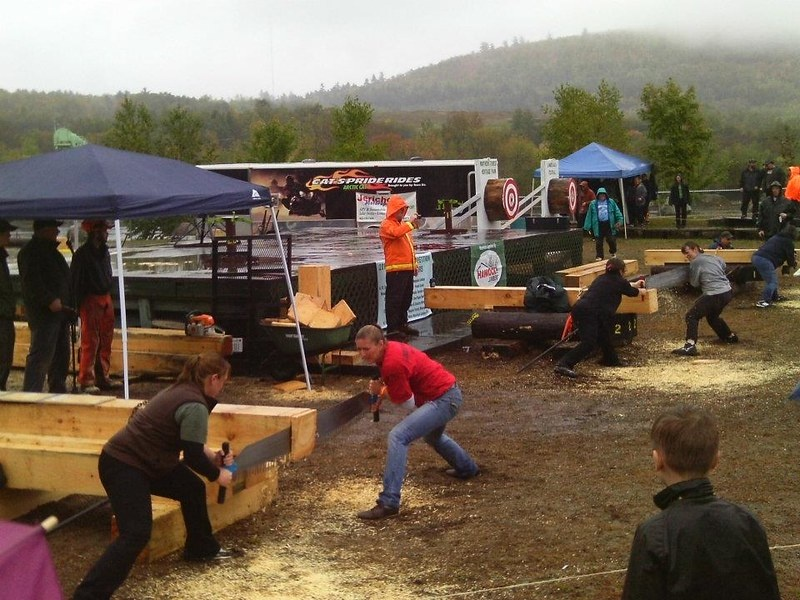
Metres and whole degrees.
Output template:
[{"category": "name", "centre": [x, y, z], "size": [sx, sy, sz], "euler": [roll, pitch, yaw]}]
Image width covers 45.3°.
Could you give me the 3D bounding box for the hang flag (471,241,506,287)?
[{"category": "hang flag", "centre": [1.560, -0.591, 16.838], "size": [0.023, 0.819, 1.461], "euler": [3, 10, 41]}]

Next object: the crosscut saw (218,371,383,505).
[{"category": "crosscut saw", "centre": [-0.903, 1.306, 8.905], "size": [2.168, 0.572, 0.091], "euler": [-30, 38, -26]}]

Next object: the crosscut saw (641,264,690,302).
[{"category": "crosscut saw", "centre": [4.875, -0.343, 17.258], "size": [0.159, 0.677, 2.534], "euler": [-39, -18, 30]}]

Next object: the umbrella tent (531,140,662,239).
[{"category": "umbrella tent", "centre": [5.616, -3.205, 28.212], "size": [2.882, 2.157, 2.934], "euler": [3, 10, 23]}]

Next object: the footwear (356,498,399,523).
[{"category": "footwear", "centre": [-0.173, 1.768, 8.117], "size": [0.425, 0.189, 0.142], "euler": [4, -5, -7]}]

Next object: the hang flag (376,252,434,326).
[{"category": "hang flag", "centre": [0.082, -0.171, 14.431], "size": [0.069, 1.006, 1.696], "euler": [4, 9, 31]}]

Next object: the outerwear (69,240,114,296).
[{"category": "outerwear", "centre": [-3.616, -0.362, 11.313], "size": [0.384, 0.668, 0.717], "euler": [-2, 9, 19]}]
